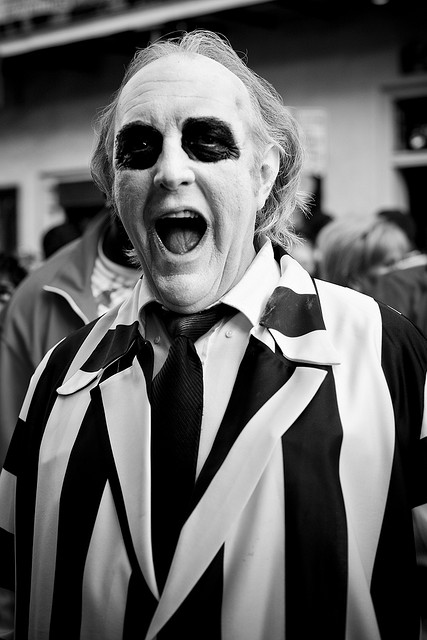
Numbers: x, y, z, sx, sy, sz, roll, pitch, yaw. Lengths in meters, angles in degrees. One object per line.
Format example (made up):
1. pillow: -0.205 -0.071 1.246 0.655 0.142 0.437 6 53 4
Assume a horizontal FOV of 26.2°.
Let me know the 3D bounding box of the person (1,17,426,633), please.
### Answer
1. person: -0.022 0.030 1.963 0.954 1.356 0.490 2 4 13

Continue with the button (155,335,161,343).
1. button: -0.126 0.045 2.045 0.011 0.012 0.003 -12 -20 41

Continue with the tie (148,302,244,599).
1. tie: -0.066 0.245 1.905 0.169 0.598 0.062 -3 -32 16
